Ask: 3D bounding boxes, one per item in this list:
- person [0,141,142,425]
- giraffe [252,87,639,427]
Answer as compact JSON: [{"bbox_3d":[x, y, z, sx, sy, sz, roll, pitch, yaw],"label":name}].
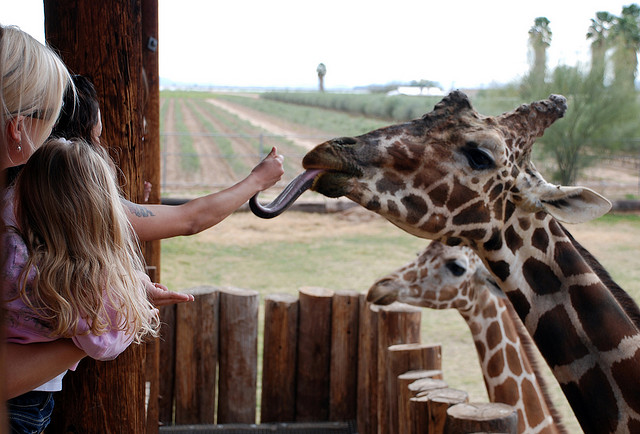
[{"bbox_3d":[-1.198,0.157,3.663,0.628,1.016,0.371,-1,14,-16],"label":"person"},{"bbox_3d":[0.912,0.189,4.093,1.713,1.693,0.769,7,14,15],"label":"giraffe"}]
